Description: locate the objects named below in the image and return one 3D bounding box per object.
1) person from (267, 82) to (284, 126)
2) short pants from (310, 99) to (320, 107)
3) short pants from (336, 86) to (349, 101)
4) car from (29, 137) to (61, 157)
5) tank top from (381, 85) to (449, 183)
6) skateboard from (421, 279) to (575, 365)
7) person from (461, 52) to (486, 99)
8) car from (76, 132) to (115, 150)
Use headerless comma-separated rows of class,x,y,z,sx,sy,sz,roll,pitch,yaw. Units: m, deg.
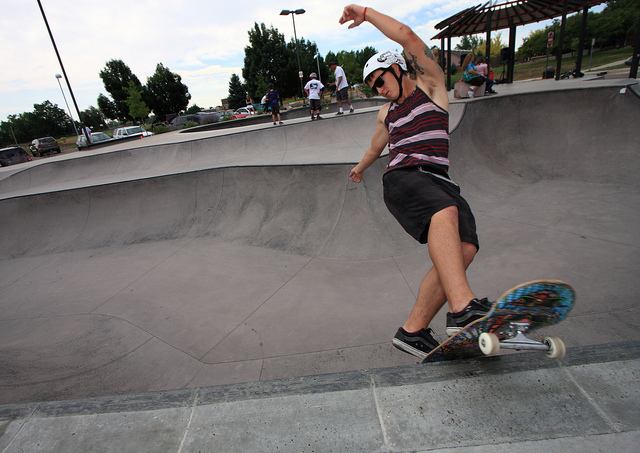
person,-1.612,-4.377,13.898,0.389,1.376,0.440,-2,18,25
short pants,-0.172,-3.970,12.531,0.359,0.352,0.211,-1,19,-6
short pants,0.788,-4.456,13.058,0.315,0.383,0.641,-21,25,-23
car,-20.697,-5.930,29.380,2.108,1.040,1.240,23,28,40
tank top,0.908,-0.910,3.714,0.617,0.884,0.521,-7,1,32
skateboard,1.231,0.864,3.056,0.444,1.474,0.264,13,54,-12
person,4.464,-4.380,11.284,0.670,1.204,0.526,1,21,19
car,-13.312,-5.133,22.785,2.012,1.012,1.317,-8,14,-2
